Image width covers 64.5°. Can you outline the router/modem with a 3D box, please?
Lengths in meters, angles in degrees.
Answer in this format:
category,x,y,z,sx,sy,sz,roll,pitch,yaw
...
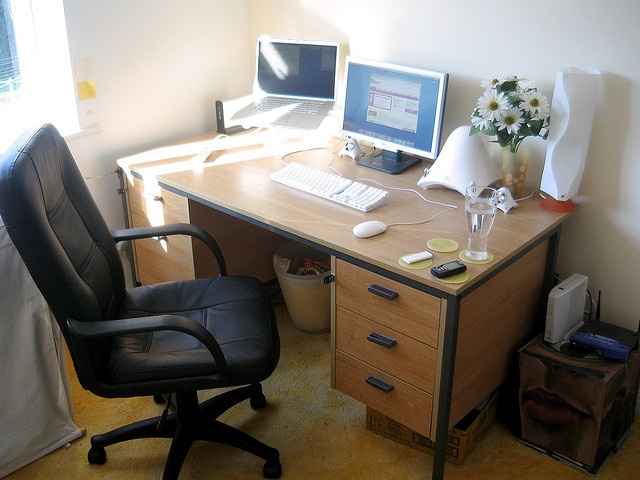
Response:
category,x,y,z,sx,sy,sz,roll,pitch,yaw
router/modem,1.084,0.299,2.186,0.075,0.200,0.215,20,39,37

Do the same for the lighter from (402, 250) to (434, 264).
category,x,y,z,sx,sy,sz,roll,pitch,yaw
lighter,0.346,0.060,1.826,0.094,0.016,0.048,-16,27,-31

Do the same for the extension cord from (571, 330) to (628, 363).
category,x,y,z,sx,sy,sz,roll,pitch,yaw
extension cord,1.148,0.431,2.076,0.217,0.059,0.090,15,29,28

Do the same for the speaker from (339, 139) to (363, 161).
category,x,y,z,sx,sy,sz,roll,pitch,yaw
speaker,0.167,-0.455,2.612,0.109,0.089,0.108,16,28,36

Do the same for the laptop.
category,x,y,z,sx,sy,sz,roll,pitch,yaw
laptop,-0.141,-0.858,2.779,0.668,0.530,0.134,17,28,27

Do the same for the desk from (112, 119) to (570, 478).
category,x,y,z,sx,sy,sz,roll,pitch,yaw
desk,0.132,0.269,2.121,1.792,0.918,0.839,21,30,39

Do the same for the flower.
category,x,y,z,sx,sy,sz,roll,pitch,yaw
flower,0.833,-0.543,2.169,0.202,0.369,0.256,-13,29,-28

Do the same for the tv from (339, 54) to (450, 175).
category,x,y,z,sx,sy,sz,roll,pitch,yaw
tv,0.360,-0.619,2.437,0.082,0.522,0.644,-17,32,-35

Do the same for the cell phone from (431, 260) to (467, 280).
category,x,y,z,sx,sy,sz,roll,pitch,yaw
cell phone,0.445,0.088,1.746,0.120,0.037,0.054,-17,36,-26
